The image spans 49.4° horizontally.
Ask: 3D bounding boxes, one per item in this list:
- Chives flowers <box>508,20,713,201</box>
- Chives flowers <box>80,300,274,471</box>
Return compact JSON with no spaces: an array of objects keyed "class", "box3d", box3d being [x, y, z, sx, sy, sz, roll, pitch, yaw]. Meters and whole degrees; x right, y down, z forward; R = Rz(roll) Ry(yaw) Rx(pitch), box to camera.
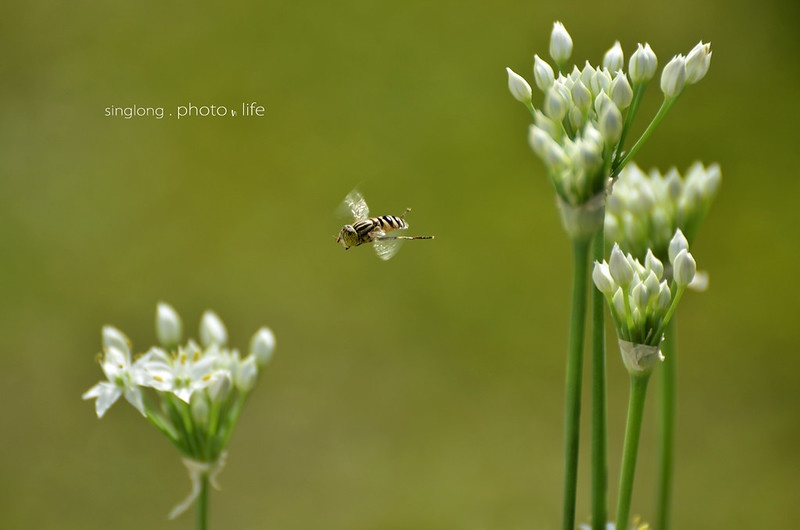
[{"class":"Chives flowers","box3d":[0.299,-0.207,1.357,0.264,0.250,0.295,1,1,-19]},{"class":"Chives flowers","box3d":[-0.335,0.203,1.407,0.264,0.247,0.321,3,12,27]}]
